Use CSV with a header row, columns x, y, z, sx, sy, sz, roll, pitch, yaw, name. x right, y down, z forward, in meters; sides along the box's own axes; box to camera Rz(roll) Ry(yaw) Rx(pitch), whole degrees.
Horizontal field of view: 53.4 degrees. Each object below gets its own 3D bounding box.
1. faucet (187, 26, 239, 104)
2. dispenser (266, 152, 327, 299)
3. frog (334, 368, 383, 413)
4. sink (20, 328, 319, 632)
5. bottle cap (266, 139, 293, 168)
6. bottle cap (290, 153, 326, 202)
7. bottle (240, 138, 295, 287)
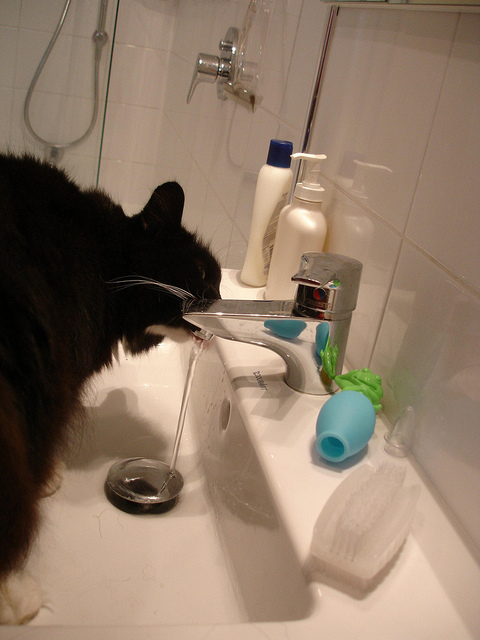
x,y,z,sx,sy,sz,roll,pitch,yaw,name
-0.066,-0.591,1.100,0.075,0.177,0.119,2,44,-21,faucet
0.081,-0.126,0.670,0.068,0.219,0.089,-13,32,-28,dispenser
0.126,0.074,0.505,0.051,0.033,0.059,21,29,34,frog
-0.088,0.093,0.491,0.182,0.098,0.394,3,15,-12,sink
0.063,-0.278,0.809,0.038,0.047,0.041,22,28,10,bottle cap
0.092,-0.199,0.657,0.048,0.067,0.056,6,11,-1,bottle cap
0.046,-0.181,0.874,0.082,0.265,0.079,0,27,0,bottle
